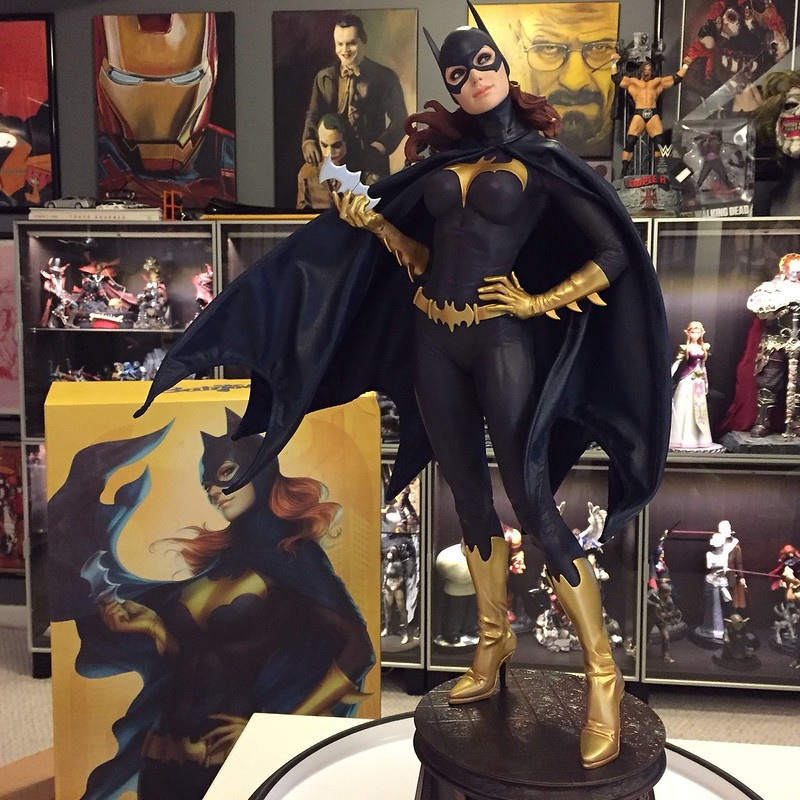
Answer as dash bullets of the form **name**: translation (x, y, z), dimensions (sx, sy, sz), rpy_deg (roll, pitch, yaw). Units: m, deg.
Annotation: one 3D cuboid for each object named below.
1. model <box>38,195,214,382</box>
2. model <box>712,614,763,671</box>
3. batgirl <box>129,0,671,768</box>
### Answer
- **model**: translation (-1.122, -0.458, 4.002), dimensions (0.875, 0.736, 0.271), rpy_deg (1, 7, 3)
- **model**: translation (1.368, 0.996, 4.014), dimensions (0.205, 0.202, 0.201), rpy_deg (1, -6, 4)
- **batgirl**: translation (0.107, -0.121, 2.545), dimensions (1.130, 1.757, 0.481), rpy_deg (5, 13, 21)
